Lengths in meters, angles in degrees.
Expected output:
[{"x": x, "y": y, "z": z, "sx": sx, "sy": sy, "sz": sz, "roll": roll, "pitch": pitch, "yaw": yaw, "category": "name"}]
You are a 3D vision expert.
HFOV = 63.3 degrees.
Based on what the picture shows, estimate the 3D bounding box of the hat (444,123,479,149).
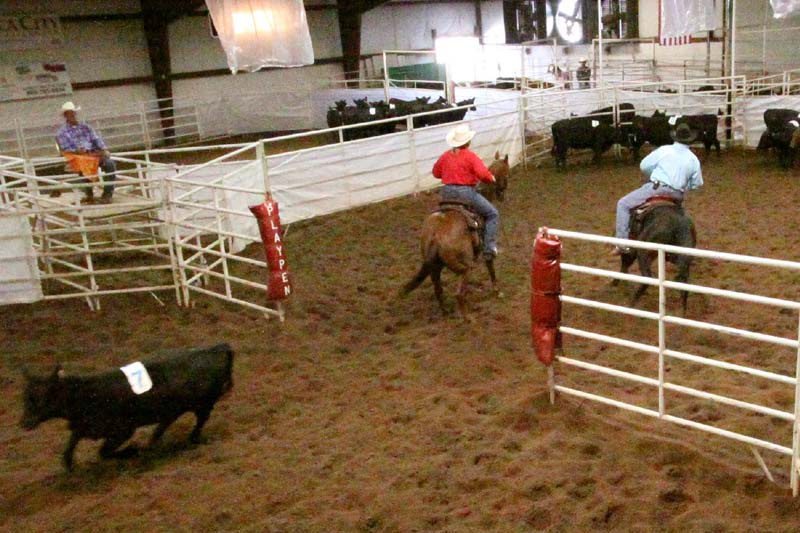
[{"x": 0.757, "y": -1.632, "z": 8.265, "sx": 0.300, "sy": 0.260, "sz": 0.410, "roll": -4, "pitch": 16, "yaw": 2, "category": "hat"}]

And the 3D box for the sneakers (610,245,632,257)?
[{"x": 2.884, "y": -0.196, "z": 8.463, "sx": 0.260, "sy": 0.136, "sz": 0.413, "roll": 2, "pitch": 8, "yaw": 20, "category": "sneakers"}]

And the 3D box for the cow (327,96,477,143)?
[{"x": -0.263, "y": -3.873, "z": 16.918, "sx": 2.391, "sy": 1.005, "sz": 4.230, "roll": -16, "pitch": 19, "yaw": -37, "category": "cow"}]

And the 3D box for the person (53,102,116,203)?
[{"x": -4.706, "y": -1.742, "z": 9.722, "sx": 0.716, "sy": 1.381, "sz": 2.600, "roll": -14, "pitch": 18, "yaw": -24, "category": "person"}]
